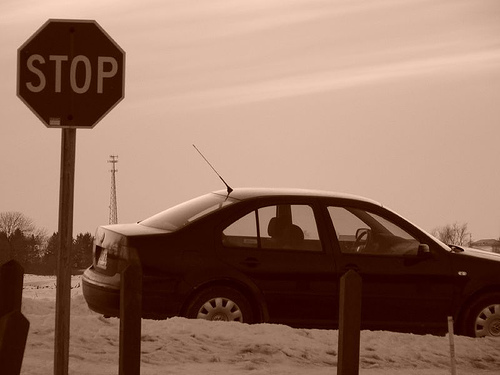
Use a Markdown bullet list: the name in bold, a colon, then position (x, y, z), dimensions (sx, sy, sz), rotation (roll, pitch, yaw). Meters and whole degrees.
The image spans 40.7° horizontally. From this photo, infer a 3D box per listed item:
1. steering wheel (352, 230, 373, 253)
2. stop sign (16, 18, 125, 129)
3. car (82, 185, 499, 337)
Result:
- **steering wheel**: position (1.422, 0.682, 8.631), dimensions (0.069, 0.297, 0.211), rotation (31, -15, -31)
- **stop sign**: position (-1.661, -1.063, 6.268), dimensions (0.969, 1.027, 0.070), rotation (1, -3, -5)
- **car**: position (0.561, 0.901, 8.658), dimensions (4.691, 1.758, 2.195), rotation (-2, -3, -10)
